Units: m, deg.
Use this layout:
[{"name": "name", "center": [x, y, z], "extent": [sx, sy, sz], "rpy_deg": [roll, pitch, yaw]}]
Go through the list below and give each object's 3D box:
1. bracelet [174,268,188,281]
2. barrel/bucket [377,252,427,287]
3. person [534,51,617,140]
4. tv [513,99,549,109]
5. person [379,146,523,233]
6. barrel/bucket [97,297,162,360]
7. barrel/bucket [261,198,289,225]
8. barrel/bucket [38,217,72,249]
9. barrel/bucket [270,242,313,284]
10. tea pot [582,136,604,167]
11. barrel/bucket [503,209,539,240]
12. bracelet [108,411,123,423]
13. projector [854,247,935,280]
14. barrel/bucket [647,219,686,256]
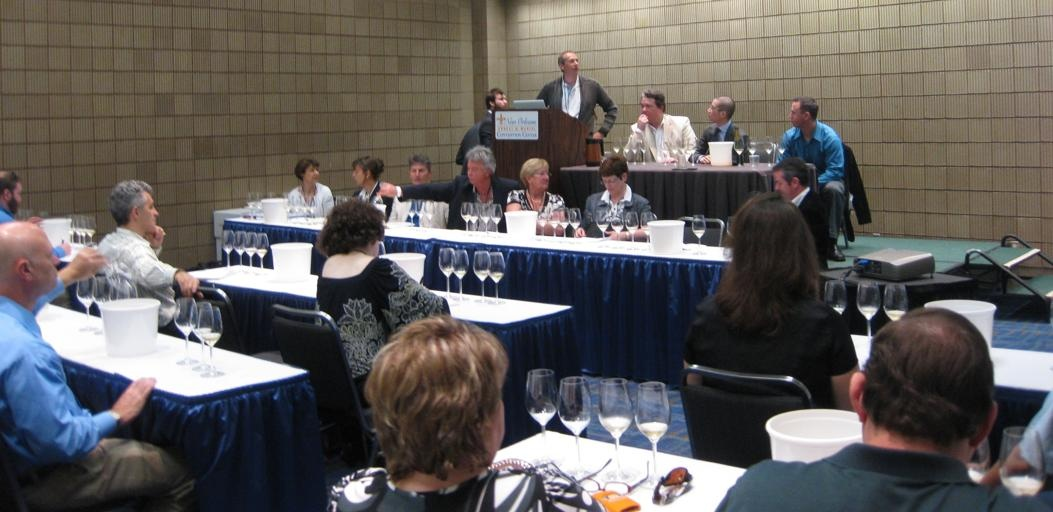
[{"name": "bracelet", "center": [-2.916, 0.157, 5.757], "extent": [0.085, 0.091, 0.088], "rpy_deg": [-1, -5, 12]}, {"name": "barrel/bucket", "center": [-1.003, 0.098, 5.731], "extent": [0.267, 0.210, 0.274], "rpy_deg": [1, 8, 0]}, {"name": "person", "center": [0.792, -2.524, 10.566], "extent": [1.153, 1.184, 0.483], "rpy_deg": [1, 11, 1]}, {"name": "tv", "center": [0.023, -2.048, 9.202], "extent": [0.459, 0.124, 0.301], "rpy_deg": [3, 12, 11]}, {"name": "person", "center": [-0.980, -0.836, 8.648], "extent": [1.436, 1.548, 0.459], "rpy_deg": [-4, -14, 18]}, {"name": "barrel/bucket", "center": [-2.831, 0.512, 4.864], "extent": [0.338, 0.327, 0.420], "rpy_deg": [-2, 2, -30]}, {"name": "barrel/bucket", "center": [-3.075, -0.546, 8.337], "extent": [0.319, 0.248, 0.298], "rpy_deg": [-1, 2, 0]}, {"name": "barrel/bucket", "center": [-4.438, -0.216, 6.401], "extent": [0.255, 0.297, 0.265], "rpy_deg": [4, 12, -1]}, {"name": "barrel/bucket", "center": [-2.220, 0.056, 6.444], "extent": [0.358, 0.281, 0.355], "rpy_deg": [-2, 4, 0]}, {"name": "tea pot", "center": [0.907, -1.426, 9.298], "extent": [0.327, 0.520, 0.319], "rpy_deg": [-1, 3, 0]}, {"name": "barrel/bucket", "center": [-0.042, -0.337, 7.139], "extent": [0.271, 0.227, 0.307], "rpy_deg": [-2, 2, -21]}, {"name": "bracelet", "center": [-2.639, 1.032, 4.363], "extent": [0.059, 0.068, 0.065], "rpy_deg": [3, -6, -26]}, {"name": "projector", "center": [3.364, 0.079, 6.227], "extent": [0.737, 0.227, 0.321], "rpy_deg": [-5, 13, -22]}, {"name": "barrel/bucket", "center": [1.334, -0.180, 6.478], "extent": [0.302, 0.237, 0.312], "rpy_deg": [-2, 9, 0]}]
